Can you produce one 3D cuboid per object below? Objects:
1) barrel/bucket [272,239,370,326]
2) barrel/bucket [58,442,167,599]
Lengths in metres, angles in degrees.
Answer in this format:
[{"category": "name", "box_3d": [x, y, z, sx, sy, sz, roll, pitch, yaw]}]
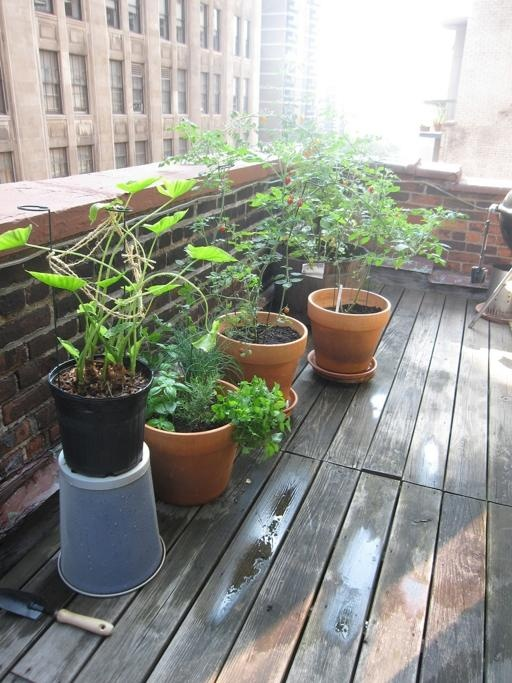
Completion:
[{"category": "barrel/bucket", "box_3d": [0.394, -0.373, 2.687, 0.467, 0.386, 0.535, 0, 13, 0]}, {"category": "barrel/bucket", "box_3d": [-0.299, 0.404, 1.178, 0.313, 0.312, 0.326, 1, 21, 0]}]
